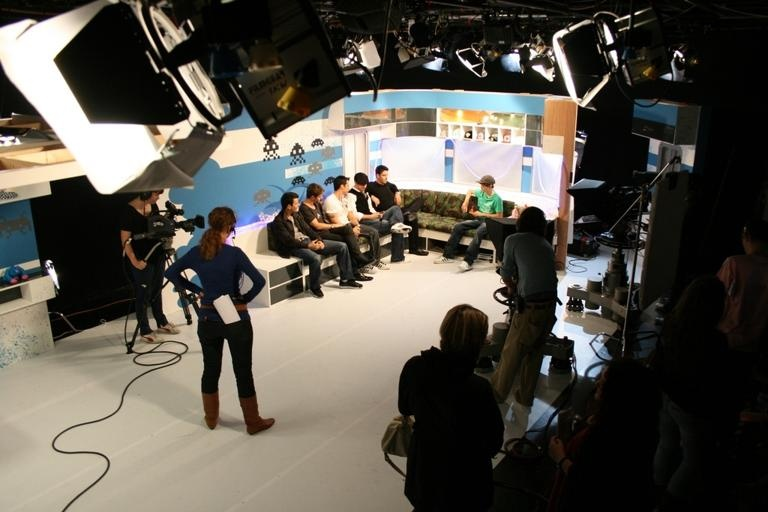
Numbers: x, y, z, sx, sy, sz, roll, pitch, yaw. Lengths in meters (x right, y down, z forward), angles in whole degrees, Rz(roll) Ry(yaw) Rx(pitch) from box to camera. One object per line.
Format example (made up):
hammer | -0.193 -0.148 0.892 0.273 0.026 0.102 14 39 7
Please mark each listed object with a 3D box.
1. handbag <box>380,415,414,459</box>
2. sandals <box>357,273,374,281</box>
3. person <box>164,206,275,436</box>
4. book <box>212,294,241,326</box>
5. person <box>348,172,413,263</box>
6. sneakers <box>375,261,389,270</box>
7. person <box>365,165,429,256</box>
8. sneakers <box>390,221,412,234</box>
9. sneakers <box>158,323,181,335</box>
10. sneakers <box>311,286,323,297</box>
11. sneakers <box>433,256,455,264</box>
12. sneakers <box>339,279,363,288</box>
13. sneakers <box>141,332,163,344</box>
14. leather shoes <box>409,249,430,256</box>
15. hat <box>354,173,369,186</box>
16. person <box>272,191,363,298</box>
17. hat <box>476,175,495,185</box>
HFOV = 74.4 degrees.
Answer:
handbag | 0.104 1.154 3.299 0.213 0.255 0.144 8 16 -15
sandals | -0.245 0.310 7.733 0.309 0.127 0.104 0 14 11
person | -1.452 0.619 4.600 0.818 2.110 0.426 2 15 19
book | -1.346 0.451 4.331 0.191 0.256 0.075 -24 7 -10
person | 0.038 -0.642 8.369 1.254 1.505 0.677 9 24 33
sneakers | -0.009 0.131 8.141 0.192 0.078 0.107 2 23 13
person | 0.149 -0.770 8.642 0.703 1.387 0.993 -15 34 5
sneakers | 0.301 -0.481 8.293 0.353 0.155 0.143 -4 26 -7
sneakers | -2.685 0.892 6.334 0.317 0.131 0.119 1 11 -7
sneakers | -0.957 0.501 7.310 0.232 0.095 0.087 15 23 41
sneakers | 0.990 0.056 8.322 0.300 0.130 0.131 2 7 -3
sneakers | -0.491 0.385 7.554 0.368 0.152 0.127 0 8 7
sneakers | -2.806 0.987 6.127 0.251 0.111 0.126 6 15 18
leather shoes | 0.617 -0.079 8.665 0.324 0.129 0.120 1 15 8
hat | -0.358 -1.282 8.363 0.182 0.228 0.223 4 15 15
person | -1.026 -0.198 7.384 1.289 1.383 0.830 1 12 16
hat | 1.672 -1.257 8.293 0.231 0.136 0.177 9 25 20
